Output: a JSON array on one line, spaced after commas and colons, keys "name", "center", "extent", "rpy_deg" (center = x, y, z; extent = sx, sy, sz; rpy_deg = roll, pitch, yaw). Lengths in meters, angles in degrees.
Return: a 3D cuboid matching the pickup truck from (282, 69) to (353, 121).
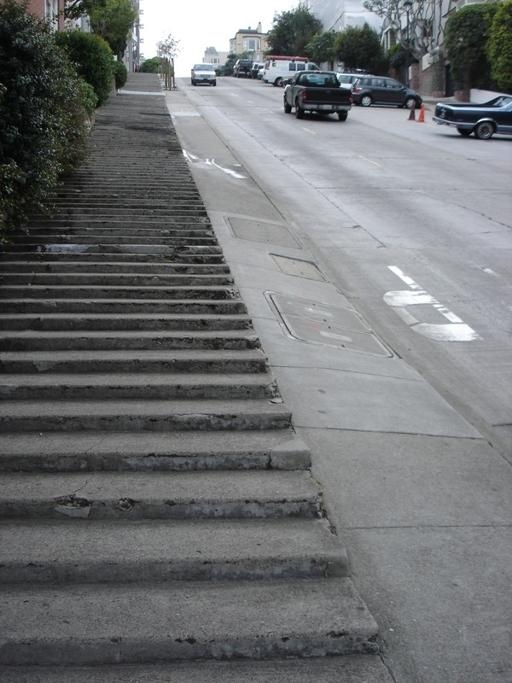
[{"name": "pickup truck", "center": [2.376, -10.359, 30.477], "extent": [1.702, 1.124, 2.904], "rpy_deg": [-2, 25, -12]}]
